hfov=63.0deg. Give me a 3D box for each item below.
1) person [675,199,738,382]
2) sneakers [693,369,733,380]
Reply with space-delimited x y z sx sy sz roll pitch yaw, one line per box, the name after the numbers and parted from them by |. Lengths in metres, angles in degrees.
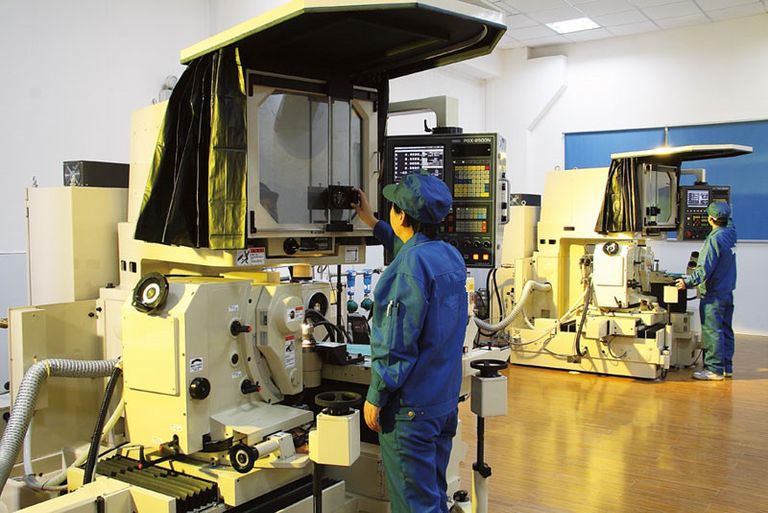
3.912 0.423 7.514 0.862 2.117 0.533 -10 13 -44 | person
3.935 1.419 7.510 0.329 0.151 0.127 4 5 36 | sneakers
